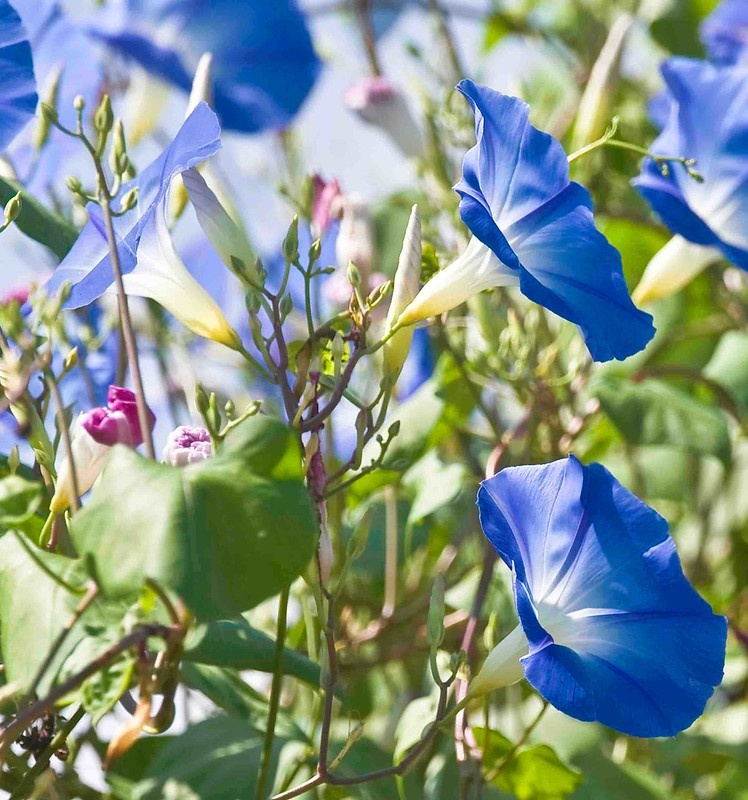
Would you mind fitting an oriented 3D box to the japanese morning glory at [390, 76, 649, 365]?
[{"bbox_3d":[0.105,-0.139,1.011,0.256,0.269,0.116,-3,-21,-42],"label":"japanese morning glory"}]
